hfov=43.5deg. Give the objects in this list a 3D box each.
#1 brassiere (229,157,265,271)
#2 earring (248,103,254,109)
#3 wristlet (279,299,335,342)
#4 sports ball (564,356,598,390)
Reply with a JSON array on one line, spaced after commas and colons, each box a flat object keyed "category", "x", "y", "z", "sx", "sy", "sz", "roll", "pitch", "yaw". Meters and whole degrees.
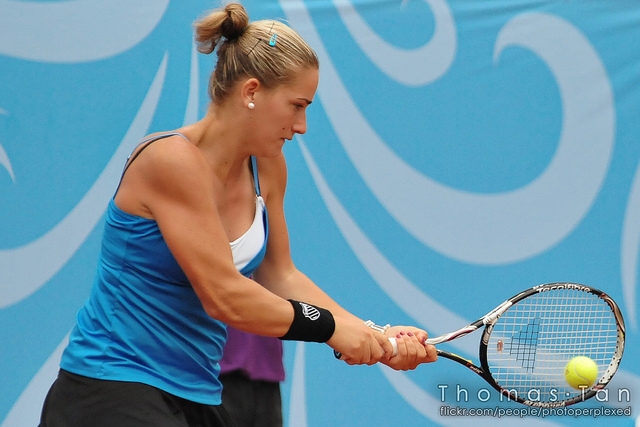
[{"category": "brassiere", "x": -0.358, "y": 0.037, "z": 4.099, "sx": 0.185, "sy": 0.355, "sz": 0.127, "roll": -2, "pitch": -6, "yaw": -41}, {"category": "earring", "x": -0.345, "y": -0.538, "z": 3.981, "sx": 0.022, "sy": 0.024, "sz": 0.014, "roll": -2, "pitch": -14, "yaw": -3}, {"category": "wristlet", "x": -0.061, "y": 0.557, "z": 4.120, "sx": 0.322, "sy": 0.133, "sz": 0.247, "roll": 9, "pitch": 11, "yaw": -33}, {"category": "sports ball", "x": 1.575, "y": 0.968, "z": 4.865, "sx": 0.177, "sy": 0.195, "sz": 0.185, "roll": 4, "pitch": -9, "yaw": 1}]
